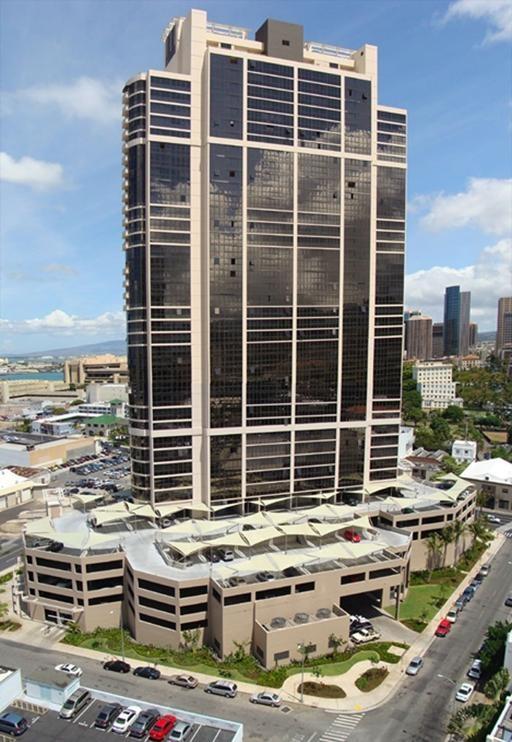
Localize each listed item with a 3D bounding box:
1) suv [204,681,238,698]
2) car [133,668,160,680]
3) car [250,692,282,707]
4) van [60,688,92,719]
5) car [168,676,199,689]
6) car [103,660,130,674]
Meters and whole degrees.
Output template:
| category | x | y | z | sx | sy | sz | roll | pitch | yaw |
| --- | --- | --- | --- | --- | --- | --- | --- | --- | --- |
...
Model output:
| category | x | y | z | sx | sy | sz | roll | pitch | yaw |
| --- | --- | --- | --- | --- | --- | --- | --- | --- | --- |
| suv | -4.017 | 38.447 | 83.017 | 3.030 | 1.317 | 1.654 | 9 | 1 | 9 |
| car | -13.697 | 37.849 | 85.804 | 2.415 | 0.707 | 1.378 | 7 | 0 | 9 |
| car | 1.220 | 38.952 | 81.388 | 2.855 | 0.918 | 1.515 | 5 | -2 | 7 |
| van | -18.802 | 34.490 | 70.602 | 1.485 | 1.840 | 4.457 | 4 | 8 | 13 |
| car | -9.005 | 38.159 | 84.283 | 2.687 | 0.858 | 1.465 | 6 | 2 | 11 |
| car | -17.730 | 37.564 | 86.933 | 2.511 | 0.742 | 1.487 | 9 | -7 | 8 |
